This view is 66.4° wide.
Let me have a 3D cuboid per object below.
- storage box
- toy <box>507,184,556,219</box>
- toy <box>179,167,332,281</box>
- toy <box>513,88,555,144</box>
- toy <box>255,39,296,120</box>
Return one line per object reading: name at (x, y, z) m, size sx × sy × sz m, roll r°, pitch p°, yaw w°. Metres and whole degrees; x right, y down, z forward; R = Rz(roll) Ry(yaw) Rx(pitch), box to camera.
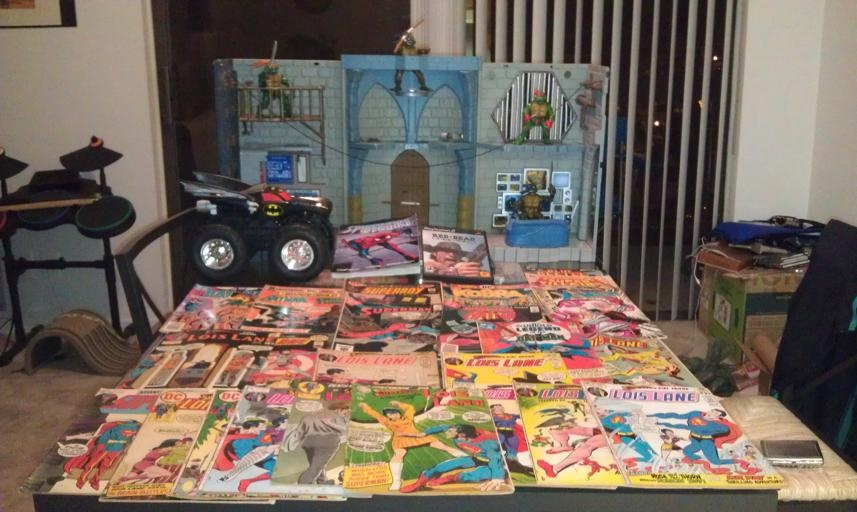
storage box at (2.439, 0.472, 5.358) m, size 0.932 × 0.781 × 0.858 m, roll 1°, pitch 10°, yaw -3°
toy at (0.761, -0.391, 4.771) m, size 0.338 × 0.349 × 0.136 m, roll -1°, pitch 7°, yaw -3°
toy at (-1.057, -0.181, 4.114) m, size 1.131 × 0.627 × 0.557 m, roll -1°, pitch 15°, yaw -4°
toy at (0.793, -1.034, 4.883) m, size 0.265 × 0.384 × 0.224 m, roll 2°, pitch 19°, yaw 11°
toy at (-1.178, -1.293, 4.908) m, size 0.268 × 0.514 × 0.249 m, roll -5°, pitch 20°, yaw -11°
